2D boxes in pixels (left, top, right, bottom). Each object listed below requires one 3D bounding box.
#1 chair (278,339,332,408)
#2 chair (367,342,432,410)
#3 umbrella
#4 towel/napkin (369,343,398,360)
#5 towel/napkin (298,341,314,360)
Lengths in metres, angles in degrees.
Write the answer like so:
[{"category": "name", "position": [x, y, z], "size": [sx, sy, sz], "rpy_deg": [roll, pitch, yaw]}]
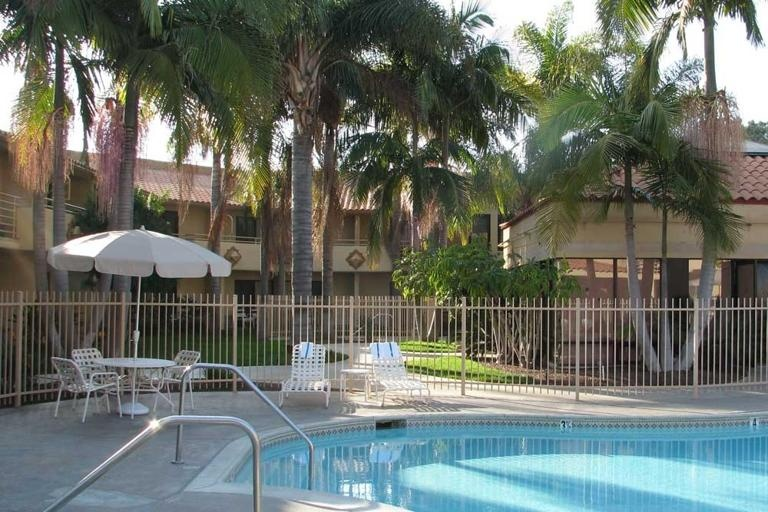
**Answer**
[{"category": "chair", "position": [-1.842, 2.859, 17.629], "size": [1.098, 1.486, 1.943], "rpy_deg": [1, 0, -8]}, {"category": "chair", "position": [0.254, 2.830, 18.006], "size": [1.067, 1.391, 2.115], "rpy_deg": [0, 0, -14]}, {"category": "umbrella", "position": [-5.559, 1.335, 16.800], "size": [3.290, 4.140, 3.645], "rpy_deg": [4, 5, -1]}, {"category": "towel/napkin", "position": [0.019, 2.384, 18.624], "size": [0.438, 0.523, 0.131], "rpy_deg": [5, -14, -17]}, {"category": "towel/napkin", "position": [-1.926, 2.329, 18.292], "size": [0.307, 0.375, 0.105], "rpy_deg": [3, -14, -5]}]
